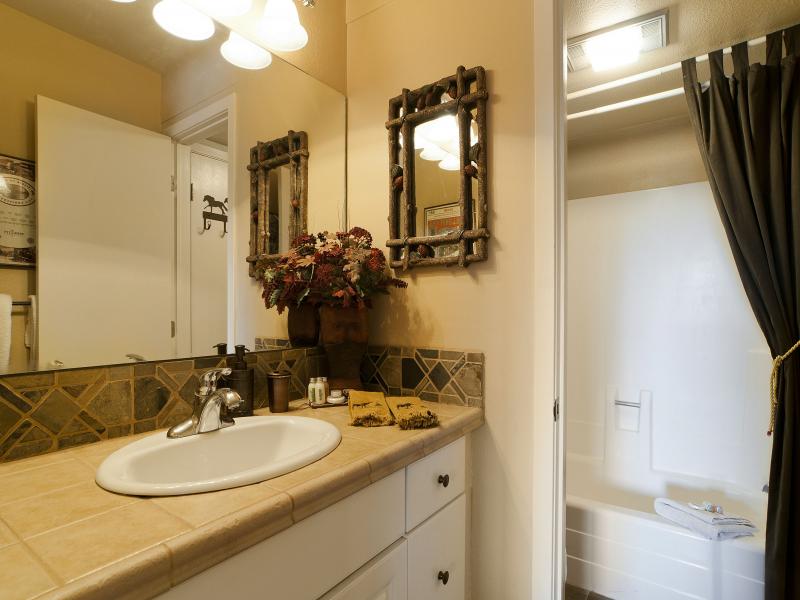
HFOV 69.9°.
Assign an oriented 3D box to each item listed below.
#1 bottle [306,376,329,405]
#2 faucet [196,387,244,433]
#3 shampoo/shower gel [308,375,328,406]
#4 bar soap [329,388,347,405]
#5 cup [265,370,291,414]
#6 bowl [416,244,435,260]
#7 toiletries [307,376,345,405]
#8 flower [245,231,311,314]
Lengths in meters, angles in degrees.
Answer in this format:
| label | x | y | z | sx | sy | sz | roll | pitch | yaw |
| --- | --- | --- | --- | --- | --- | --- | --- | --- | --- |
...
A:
| label | x | y | z | sx | sy | sz | roll | pitch | yaw |
| --- | --- | --- | --- | --- | --- | --- | --- | --- | --- |
| bottle | -0.323 | 0.360 | 2.312 | 0.075 | 0.161 | 0.103 | 1 | -3 | 8 |
| faucet | -0.628 | 0.357 | 1.939 | 0.135 | 0.144 | 0.093 | -8 | 31 | -43 |
| shampoo/shower gel | -0.325 | 0.361 | 2.236 | 0.068 | 0.110 | 0.096 | 1 | 0 | -5 |
| bar soap | -0.249 | 0.382 | 2.264 | 0.053 | 0.035 | 0.054 | -1 | 2 | -33 |
| cup | -0.463 | 0.345 | 2.180 | 0.094 | 0.146 | 0.096 | 0 | 0 | 0 |
| bowl | 0.103 | -0.197 | 2.370 | 0.061 | 0.073 | 0.049 | 2 | 8 | -1 |
| toiletries | -0.300 | 0.374 | 2.316 | 0.145 | 0.158 | 0.082 | 6 | -8 | -40 |
| flower | -0.539 | -0.129 | 2.398 | 0.335 | 0.298 | 0.382 | -2 | 0 | -19 |
